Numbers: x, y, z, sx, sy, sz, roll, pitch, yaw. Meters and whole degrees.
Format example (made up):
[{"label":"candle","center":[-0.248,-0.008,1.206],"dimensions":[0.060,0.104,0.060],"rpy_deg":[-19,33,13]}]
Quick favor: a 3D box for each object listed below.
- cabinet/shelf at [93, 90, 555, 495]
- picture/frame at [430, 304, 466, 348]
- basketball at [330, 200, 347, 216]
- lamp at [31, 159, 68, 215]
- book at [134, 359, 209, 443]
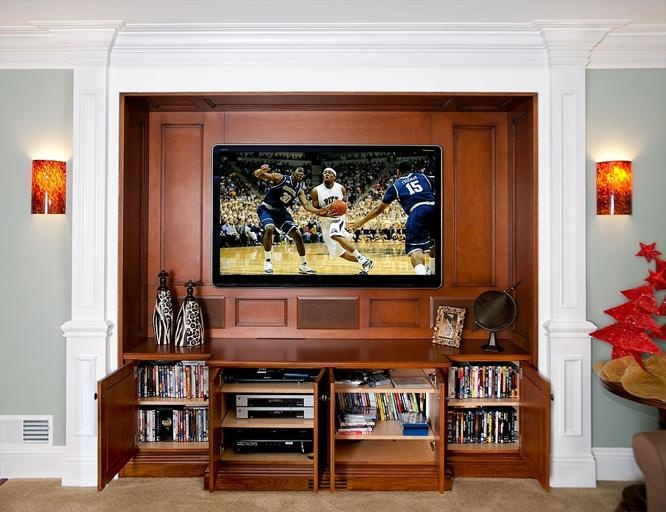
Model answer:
[{"label":"cabinet/shelf","center":[-0.083,0.259,4.920],"dimensions":[3.006,2.725,0.982],"rpy_deg":[0,1,-1]},{"label":"picture/frame","center":[0.902,0.549,5.026],"dimensions":[0.328,0.415,0.040],"rpy_deg":[0,-21,41]},{"label":"basketball","center":[0.037,-0.381,5.063],"dimensions":[0.121,0.119,0.119],"rpy_deg":[1,16,1]},{"label":"lamp","center":[-2.118,-0.511,4.805],"dimensions":[0.247,0.436,0.137],"rpy_deg":[-2,0,-11]},{"label":"book","center":[-1.228,1.091,4.884],"dimensions":[0.693,0.647,0.270],"rpy_deg":[0,1,2]}]
